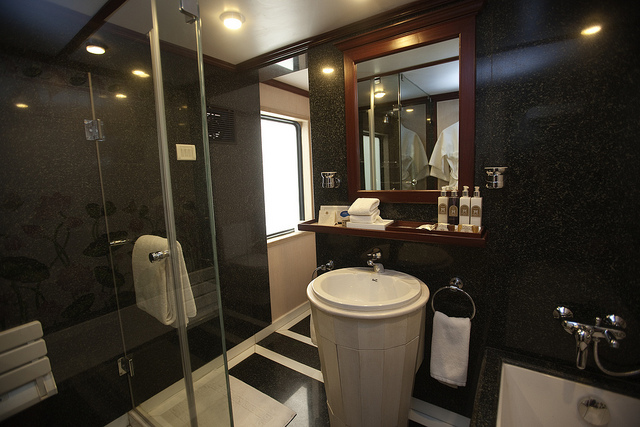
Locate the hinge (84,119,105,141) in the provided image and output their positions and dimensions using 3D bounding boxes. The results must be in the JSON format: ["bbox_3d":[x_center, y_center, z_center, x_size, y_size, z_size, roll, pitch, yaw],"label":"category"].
[{"bbox_3d":[-1.426,-0.524,2.796,0.177,0.131,0.025,5,10,34],"label":"hinge"}]

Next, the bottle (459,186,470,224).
[{"bbox_3d":[0.960,-0.050,2.953,0.064,0.239,0.047,1,9,12],"label":"bottle"}]

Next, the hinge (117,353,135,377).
[{"bbox_3d":[-1.299,1.003,2.952,0.180,0.172,0.030,5,10,36],"label":"hinge"}]

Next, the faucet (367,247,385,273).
[{"bbox_3d":[0.413,0.339,3.255,0.127,0.238,0.167,-2,-4,43],"label":"faucet"}]

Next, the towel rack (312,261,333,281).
[{"bbox_3d":[0.023,0.447,3.459,0.083,0.130,0.248,-23,40,29],"label":"towel rack"}]

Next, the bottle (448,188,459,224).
[{"bbox_3d":[0.895,-0.044,2.974,0.071,0.229,0.040,2,9,16],"label":"bottle"}]

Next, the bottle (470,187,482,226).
[{"bbox_3d":[1.028,-0.049,2.923,0.065,0.241,0.041,5,10,35],"label":"bottle"}]

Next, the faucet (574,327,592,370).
[{"bbox_3d":[1.584,0.813,2.683,0.091,0.256,0.054,5,10,32],"label":"faucet"}]

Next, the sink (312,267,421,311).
[{"bbox_3d":[0.377,0.498,3.099,0.733,0.231,0.597,3,11,31],"label":"sink"}]
